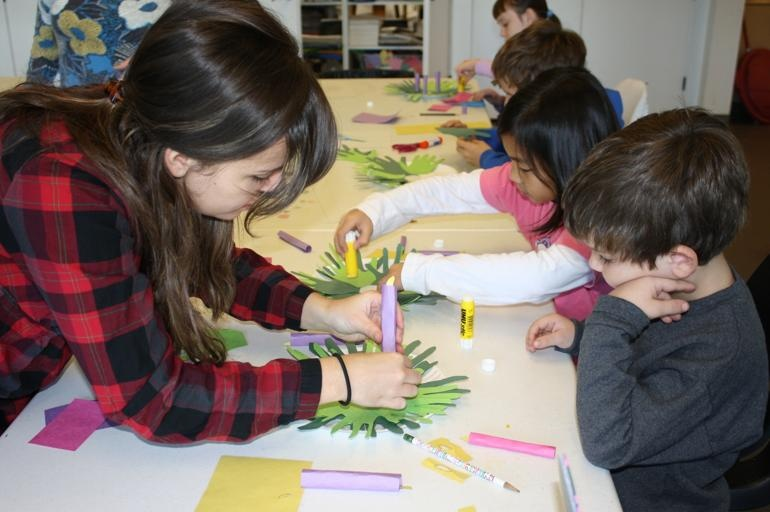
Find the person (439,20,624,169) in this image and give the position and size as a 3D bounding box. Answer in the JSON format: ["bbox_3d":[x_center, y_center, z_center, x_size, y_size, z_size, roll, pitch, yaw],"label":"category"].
[{"bbox_3d":[0.704,-0.815,2.520,0.817,0.544,0.620,-14,39,9],"label":"person"}]

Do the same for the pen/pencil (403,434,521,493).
[{"bbox_3d":[0.152,0.403,1.068,0.195,0.014,0.016,22,-2,30],"label":"pen/pencil"}]

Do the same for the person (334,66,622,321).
[{"bbox_3d":[0.202,-0.168,1.720,0.951,0.721,0.674,-9,32,-6],"label":"person"}]

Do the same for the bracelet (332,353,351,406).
[{"bbox_3d":[-0.081,0.253,1.155,0.019,0.084,0.082,-6,-10,-10],"label":"bracelet"}]

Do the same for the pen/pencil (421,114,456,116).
[{"bbox_3d":[0.288,-0.759,2.986,0.183,0.014,0.016,0,13,0],"label":"pen/pencil"}]
